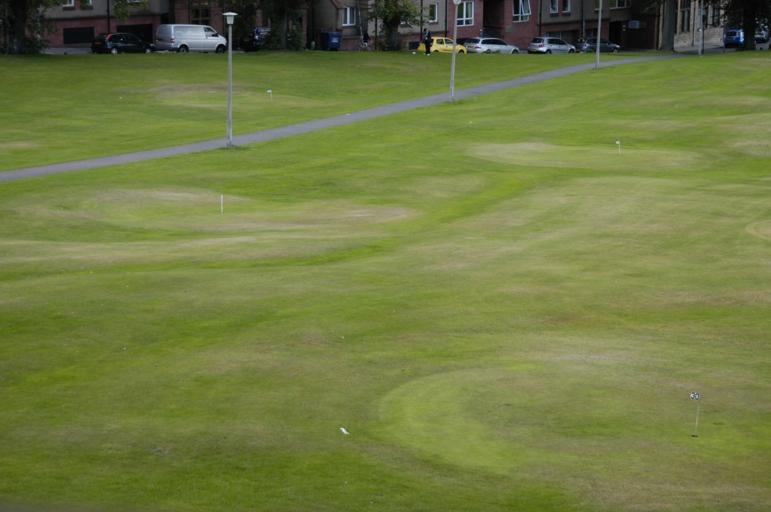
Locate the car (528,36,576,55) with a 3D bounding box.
[{"bbox_3d":[11.834,-14.914,122.531,3.067,0.955,1.583,-7,14,-27],"label":"car"}]

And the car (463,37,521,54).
[{"bbox_3d":[7.080,-14.880,120.742,1.902,0.936,3.721,6,9,34],"label":"car"}]

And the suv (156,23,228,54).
[{"bbox_3d":[-12.226,-14.286,111.788,4.071,1.383,2.088,-8,17,-29],"label":"suv"}]

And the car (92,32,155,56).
[{"bbox_3d":[-16.704,-13.847,111.074,2.008,1.210,4.088,8,11,43],"label":"car"}]
